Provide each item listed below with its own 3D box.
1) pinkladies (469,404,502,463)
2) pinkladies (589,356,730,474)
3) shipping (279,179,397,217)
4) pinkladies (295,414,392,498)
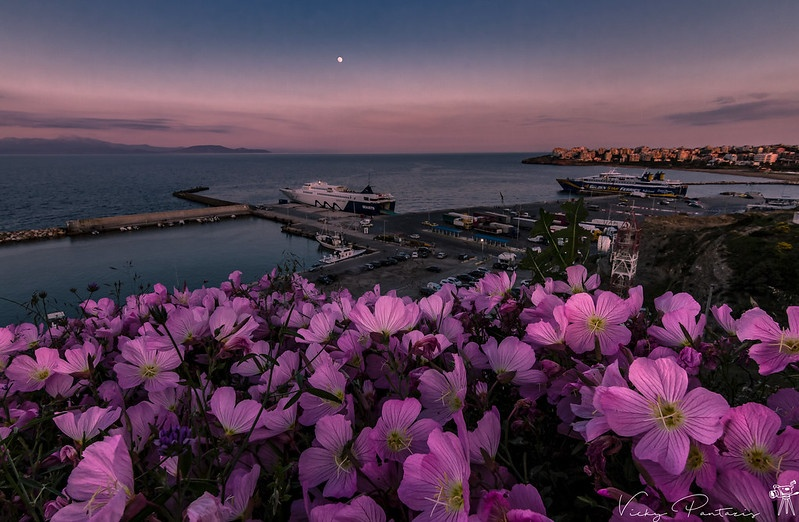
[{"bbox_3d":[0.228,0.444,0.995,0.099,0.126,0.049,-3,12,7],"label":"pinkladies"},{"bbox_3d":[0.640,0.342,0.946,0.305,0.277,0.148,-3,-22,27],"label":"pinkladies"},{"bbox_3d":[-8.773,-8.154,55.280,18.721,4.251,6.024,15,33,34],"label":"shipping"},{"bbox_3d":[-0.162,0.530,1.036,0.206,0.192,0.133,8,22,27],"label":"pinkladies"}]
